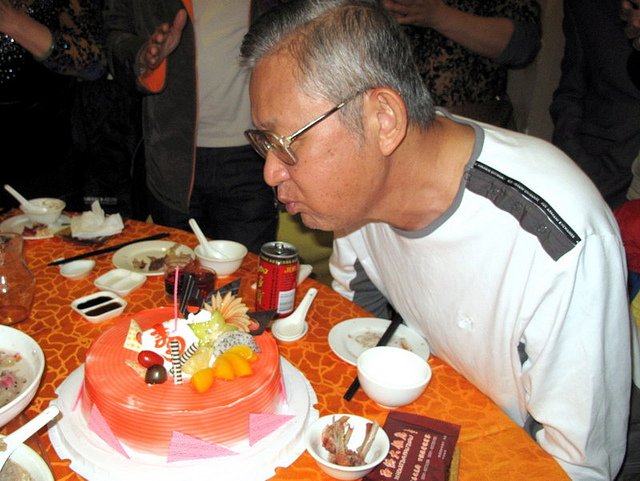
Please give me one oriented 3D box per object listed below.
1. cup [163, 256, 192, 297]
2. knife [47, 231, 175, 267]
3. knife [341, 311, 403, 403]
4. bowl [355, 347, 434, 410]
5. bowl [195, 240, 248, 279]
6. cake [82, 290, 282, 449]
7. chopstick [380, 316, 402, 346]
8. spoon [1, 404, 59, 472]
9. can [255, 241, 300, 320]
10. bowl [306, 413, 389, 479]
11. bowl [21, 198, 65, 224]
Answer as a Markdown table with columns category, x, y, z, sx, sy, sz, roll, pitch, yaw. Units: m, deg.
| category | x | y | z | sx | sy | sz | roll | pitch | yaw |
| --- | --- | --- | --- | --- | --- | --- | --- | --- | --- |
| cup | -0.703 | 0.214 | 2.357 | 0.150 | 0.157 | 0.127 | 9 | -4 | -11 |
| knife | -1.190 | 0.055 | 2.663 | 0.664 | 0.017 | 0.085 | -11 | 23 | -30 |
| knife | 0.204 | 0.483 | 1.937 | 0.054 | 0.042 | 0.562 | -16 | 11 | 41 |
| bowl | 0.260 | 0.529 | 1.797 | 0.274 | 0.157 | 0.268 | 7 | 19 | -2 |
| bowl | -0.503 | 0.089 | 2.560 | 0.224 | 0.115 | 0.220 | 1 | 23 | 0 |
| cake | -0.561 | 0.466 | 1.820 | 0.650 | 0.263 | 0.666 | 26 | 23 | 22 |
| chopstick | 0.313 | 0.409 | 2.129 | 0.022 | 0.023 | 0.165 | 50 | 53 | -1 |
| spoon | -0.891 | 0.600 | 1.455 | 0.068 | 0.031 | 0.215 | 39 | 66 | 24 |
| can | -0.194 | 0.180 | 2.230 | 0.216 | 0.323 | 0.186 | -8 | 22 | -35 |
| bowl | 0.085 | 0.689 | 1.607 | 0.273 | 0.095 | 0.205 | 8 | 40 | 3 |
| bowl | -1.673 | -0.185 | 2.941 | 0.187 | 0.087 | 0.184 | 1 | 14 | 0 |
